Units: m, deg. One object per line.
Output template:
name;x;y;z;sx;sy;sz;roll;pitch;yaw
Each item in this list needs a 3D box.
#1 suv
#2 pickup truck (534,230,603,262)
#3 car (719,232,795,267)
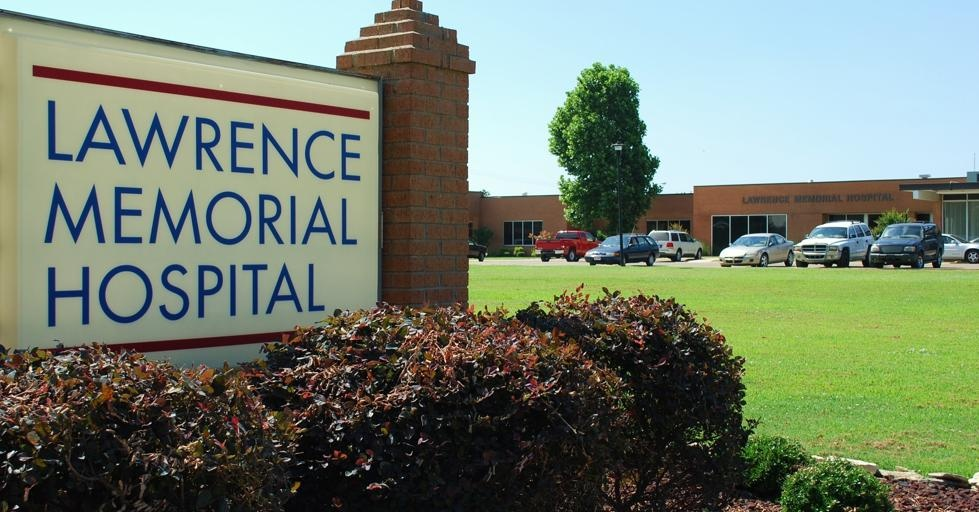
suv;15.995;-0.501;37.033;4.861;1.922;3.665;0;0;32
pickup truck;5.196;-0.652;52.088;1.802;1.162;3.503;3;8;41
car;11.958;-0.285;39.310;2.125;1.405;3.715;0;0;39
